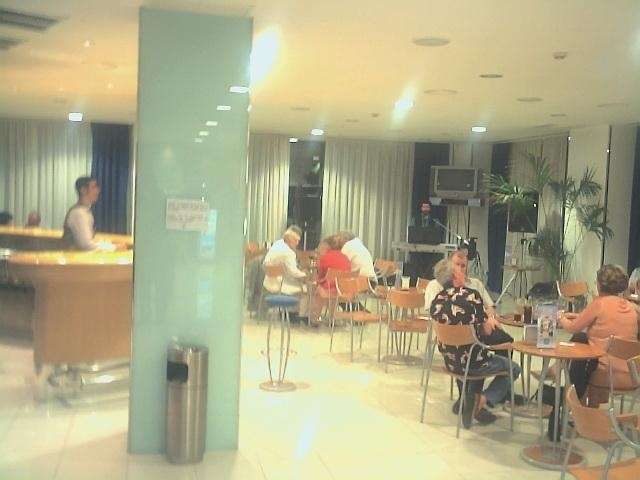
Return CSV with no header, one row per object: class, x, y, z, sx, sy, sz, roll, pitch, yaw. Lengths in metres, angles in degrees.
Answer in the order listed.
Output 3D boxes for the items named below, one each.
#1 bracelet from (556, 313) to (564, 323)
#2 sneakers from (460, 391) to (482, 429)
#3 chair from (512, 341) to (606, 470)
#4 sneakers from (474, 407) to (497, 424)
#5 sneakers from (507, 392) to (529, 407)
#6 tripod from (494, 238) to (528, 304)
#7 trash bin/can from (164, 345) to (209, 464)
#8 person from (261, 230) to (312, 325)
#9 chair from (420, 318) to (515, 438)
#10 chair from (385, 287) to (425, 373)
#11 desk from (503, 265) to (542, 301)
bracelet,2.263,0.734,5.351,0.020,0.080,0.083,11,1,17
sneakers,1.401,1.569,5.316,0.151,0.415,0.133,11,-8,-43
chair,1.997,1.363,4.974,0.828,1.140,0.894,0,4,0
sneakers,1.597,1.683,5.492,0.282,0.121,0.107,1,1,-38
sneakers,2.071,1.650,5.919,0.183,0.084,0.110,-1,1,12
tripod,4.024,0.657,11.456,0.822,1.327,0.845,6,4,11
trash bin/can,-1.061,1.323,4.569,0.320,0.893,0.154,0,2,-8
person,-0.438,0.504,8.721,0.706,1.345,0.634,-6,8,-15
chair,1.412,1.249,5.513,0.862,1.028,1.185,0,2,11
chair,1.039,1.040,6.797,0.586,0.911,0.656,4,6,25
desk,3.811,0.830,11.205,0.681,0.733,0.679,-2,4,-34
